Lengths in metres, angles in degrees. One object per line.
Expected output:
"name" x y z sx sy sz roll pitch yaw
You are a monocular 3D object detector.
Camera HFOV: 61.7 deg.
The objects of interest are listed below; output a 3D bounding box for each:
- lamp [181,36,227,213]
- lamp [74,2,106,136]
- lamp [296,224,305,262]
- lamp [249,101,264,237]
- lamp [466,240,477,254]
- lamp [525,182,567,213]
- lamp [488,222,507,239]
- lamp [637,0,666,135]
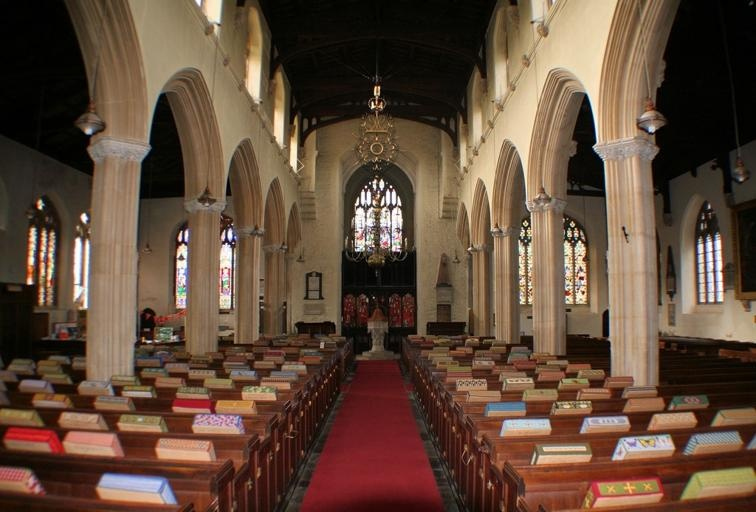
"lamp" -3.865 -2.975 13.915 0.875 4.019 1.832 -2 7 -14
"lamp" -4.884 -3.233 10.791 0.552 2.326 1.329 -3 7 -22
"lamp" -3.073 -0.432 25.202 0.294 1.369 0.420 7 10 44
"lamp" -3.482 -1.751 17.807 0.370 2.409 0.723 -1 7 -9
"lamp" 3.252 -0.259 21.843 0.232 0.475 0.609 -1 7 -10
"lamp" 3.880 -1.345 14.653 0.654 0.448 0.663 -1 1 12
"lamp" 3.413 -0.711 18.020 0.148 0.449 0.619 -4 8 -31
"lamp" 4.531 -3.169 10.430 0.409 2.285 1.675 3 7 21
